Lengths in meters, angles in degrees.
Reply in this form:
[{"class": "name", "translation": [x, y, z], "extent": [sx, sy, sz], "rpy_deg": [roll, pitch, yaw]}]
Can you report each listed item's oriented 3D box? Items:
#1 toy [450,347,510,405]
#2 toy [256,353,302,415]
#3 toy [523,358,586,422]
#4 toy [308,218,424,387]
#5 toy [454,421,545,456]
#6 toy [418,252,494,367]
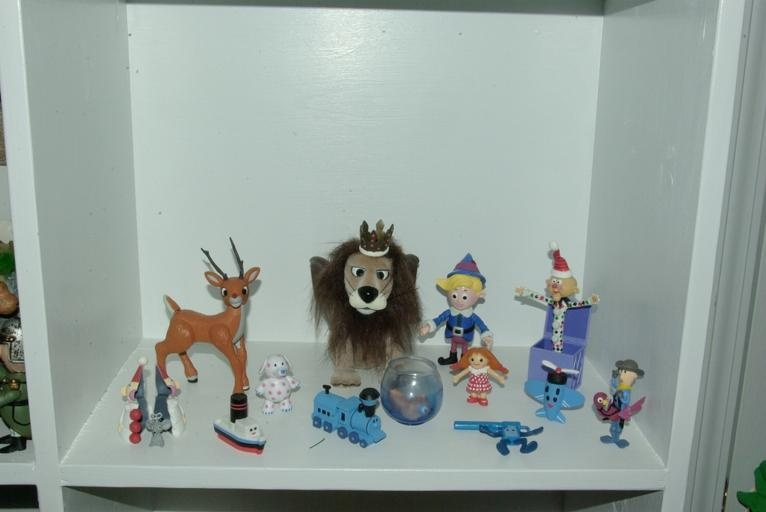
[{"class": "toy", "translation": [0.222, 0.261, 1.595], "extent": [0.137, 0.121, 0.154], "rpy_deg": [2, 8, 9]}, {"class": "toy", "translation": [-0.231, 0.289, 1.522], "extent": [0.110, 0.130, 0.067], "rpy_deg": [-2, 3, -37]}, {"class": "toy", "translation": [0.378, 0.289, 1.523], "extent": [0.122, 0.122, 0.129], "rpy_deg": [3, 8, 17]}, {"class": "toy", "translation": [-0.039, 0.080, 1.702], "extent": [0.358, 0.528, 0.317], "rpy_deg": [0, 5, -1]}, {"class": "toy", "translation": [0.244, 0.365, 1.417], "extent": [0.156, 0.063, 0.075], "rpy_deg": [1, 10, 2]}, {"class": "toy", "translation": [0.175, 0.124, 1.682], "extent": [0.194, 0.319, 0.153], "rpy_deg": [4, 17, 13]}]
